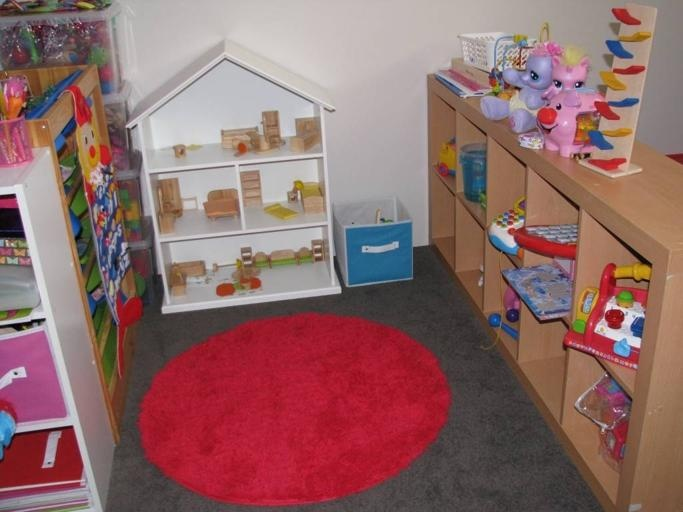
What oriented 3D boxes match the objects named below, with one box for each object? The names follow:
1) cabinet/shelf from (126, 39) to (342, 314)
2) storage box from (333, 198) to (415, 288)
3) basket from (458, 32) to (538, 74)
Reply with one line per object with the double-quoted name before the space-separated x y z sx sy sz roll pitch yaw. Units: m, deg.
"cabinet/shelf" -0.720 -0.568 3.336 1.291 1.771 0.570 -8 29 -12
"storage box" 0.222 -0.113 3.557 0.546 0.491 0.430 -6 20 -2
"basket" 0.895 -1.176 3.051 0.301 0.185 0.460 -5 18 -12
